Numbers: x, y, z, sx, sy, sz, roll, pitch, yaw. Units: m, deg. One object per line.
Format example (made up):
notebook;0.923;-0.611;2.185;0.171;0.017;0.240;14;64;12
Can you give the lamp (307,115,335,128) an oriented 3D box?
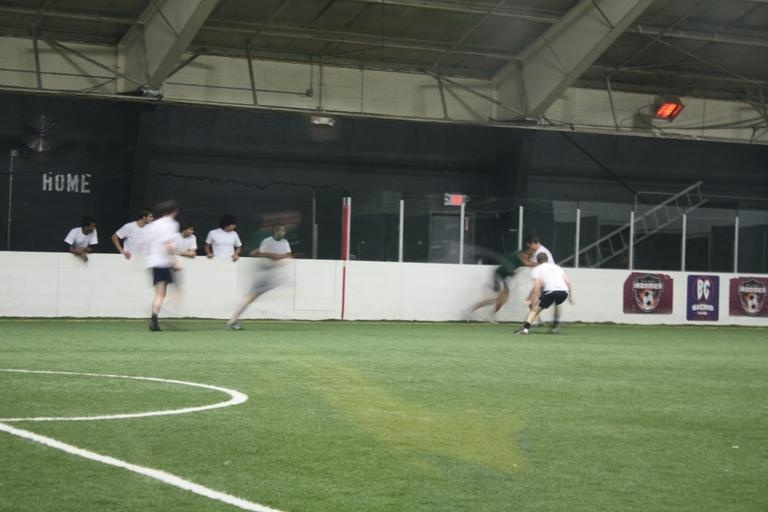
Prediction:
lamp;-1.699;-3.841;26.968;0.755;0.375;0.451;-1;14;-8

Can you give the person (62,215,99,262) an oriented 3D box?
person;-7.012;-0.305;20.676;0.708;0.978;0.702;9;-3;-43

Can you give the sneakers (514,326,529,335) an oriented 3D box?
sneakers;3.144;1.553;19.263;0.150;0.163;0.385;2;0;-27

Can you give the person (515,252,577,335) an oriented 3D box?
person;3.906;0.828;20.791;0.988;1.575;0.944;30;-39;-13

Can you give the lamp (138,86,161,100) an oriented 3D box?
lamp;-6.446;-4.324;24.884;0.605;0.332;1.814;-3;14;-14

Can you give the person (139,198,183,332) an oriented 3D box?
person;-4.354;0.265;17.721;0.666;2.574;0.788;-3;16;-14
